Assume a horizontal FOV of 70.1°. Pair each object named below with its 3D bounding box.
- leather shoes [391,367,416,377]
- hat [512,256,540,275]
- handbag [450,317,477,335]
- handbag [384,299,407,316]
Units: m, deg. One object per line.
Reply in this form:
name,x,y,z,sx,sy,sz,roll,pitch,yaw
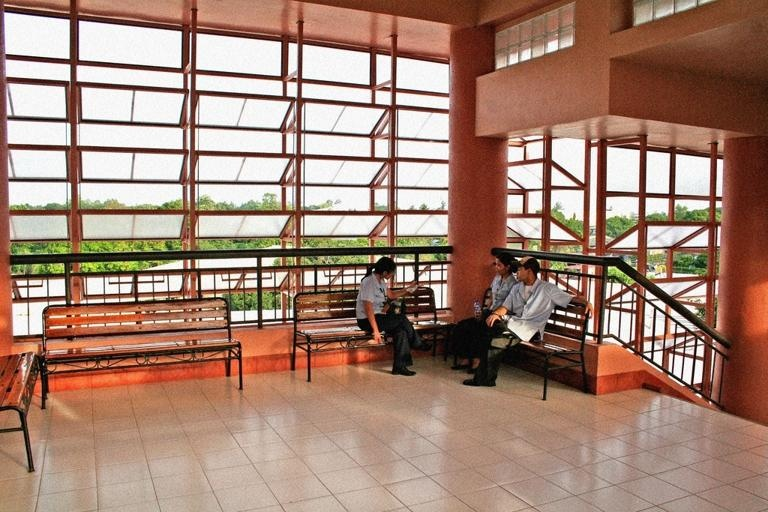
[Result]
leather shoes,0.272,1.660,7.886,0.386,0.140,0.120,1,-1,-4
hat,1.972,0.109,7.616,0.347,0.178,0.231,15,-2,9
handbag,1.182,1.019,8.100,0.240,0.106,0.372,-14,-11,-38
handbag,0.179,0.735,7.820,0.266,0.217,0.183,8,3,27
